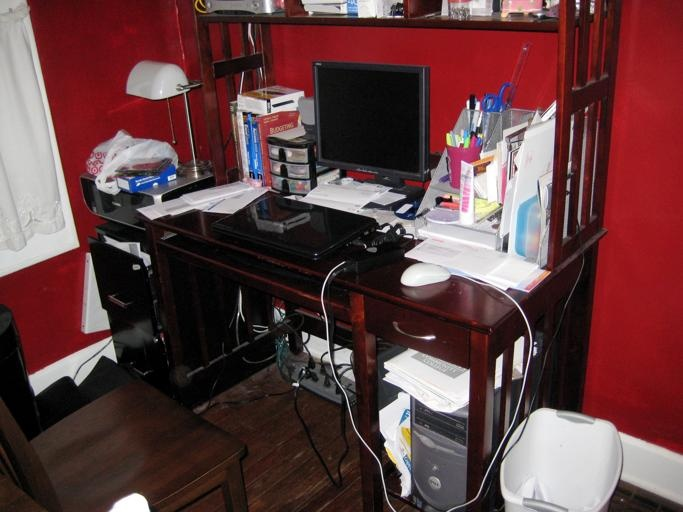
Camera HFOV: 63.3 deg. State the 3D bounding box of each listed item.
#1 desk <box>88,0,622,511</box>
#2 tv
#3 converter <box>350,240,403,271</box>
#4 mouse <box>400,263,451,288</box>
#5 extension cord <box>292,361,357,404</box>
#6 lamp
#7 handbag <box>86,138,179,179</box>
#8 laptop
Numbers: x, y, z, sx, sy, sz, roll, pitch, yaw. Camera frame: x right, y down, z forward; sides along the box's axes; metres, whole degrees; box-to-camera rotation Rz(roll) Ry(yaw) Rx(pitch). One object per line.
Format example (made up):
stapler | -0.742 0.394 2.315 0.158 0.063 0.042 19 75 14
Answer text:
desk | 0.060 -0.016 1.987 1.552 2.029 0.757 15 27 34
tv | 0.126 -0.462 2.088 0.482 0.492 0.175 17 34 31
converter | 0.109 -0.021 1.727 0.150 0.049 0.082 -18 28 -30
mouse | 0.239 0.059 1.608 0.128 0.047 0.067 -10 25 -18
extension cord | -0.068 0.592 2.624 0.269 0.057 0.184 18 32 37
lamp | -0.798 -0.627 2.515 0.343 0.571 0.382 21 32 29
handbag | -0.958 -0.508 2.511 0.298 0.127 0.227 -22 31 -35
laptop | -0.152 -0.111 1.932 0.383 0.065 0.251 19 39 33
